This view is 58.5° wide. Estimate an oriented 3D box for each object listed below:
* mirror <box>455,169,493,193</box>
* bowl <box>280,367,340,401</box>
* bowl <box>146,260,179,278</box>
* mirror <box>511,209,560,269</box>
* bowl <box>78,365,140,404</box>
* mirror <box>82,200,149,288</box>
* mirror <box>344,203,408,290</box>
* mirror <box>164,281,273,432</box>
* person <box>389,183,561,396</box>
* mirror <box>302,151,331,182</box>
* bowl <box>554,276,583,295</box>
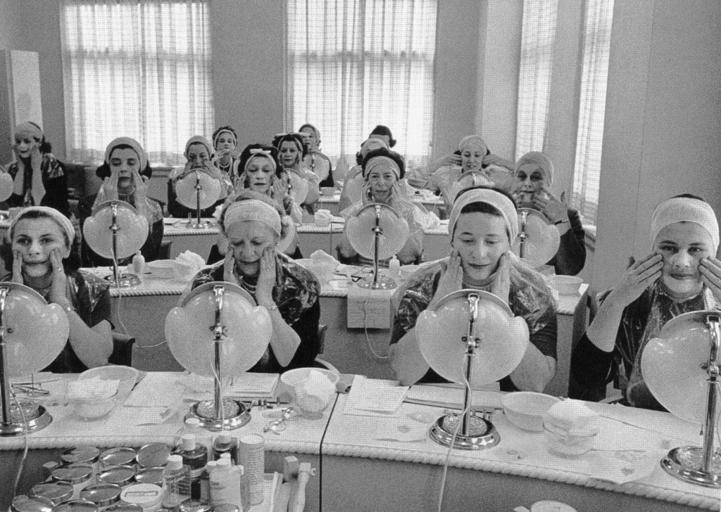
[{"bbox_3d":[0.939,-0.654,5.383,0.395,0.220,0.588,-2,4,7],"label":"mirror"},{"bbox_3d":[-0.194,0.498,2.531,0.150,0.076,0.148,0,8,0],"label":"bowl"},{"bbox_3d":[-1.325,0.087,4.288,0.153,0.059,0.155,2,11,0],"label":"bowl"},{"bbox_3d":[1.033,-0.109,3.789,0.352,0.385,0.123,-8,0,5],"label":"mirror"},{"bbox_3d":[-1.012,0.502,2.620,0.149,0.060,0.156,7,12,-1],"label":"bowl"},{"bbox_3d":[-1.528,-0.055,4.005,0.444,0.625,0.378,3,29,-11],"label":"mirror"},{"bbox_3d":[0.107,-0.053,4.175,0.471,0.681,0.283,3,29,2],"label":"mirror"},{"bbox_3d":[-0.534,0.395,2.433,0.394,0.561,0.318,3,22,-7],"label":"mirror"},{"bbox_3d":[0.492,0.282,2.891,0.799,1.215,0.772,0,11,-4],"label":"person"},{"bbox_3d":[-0.570,-1.199,8.506,0.398,0.380,0.323,1,7,9],"label":"mirror"},{"bbox_3d":[1.232,0.177,3.843,0.102,0.050,0.107,-1,12,0],"label":"bowl"}]
